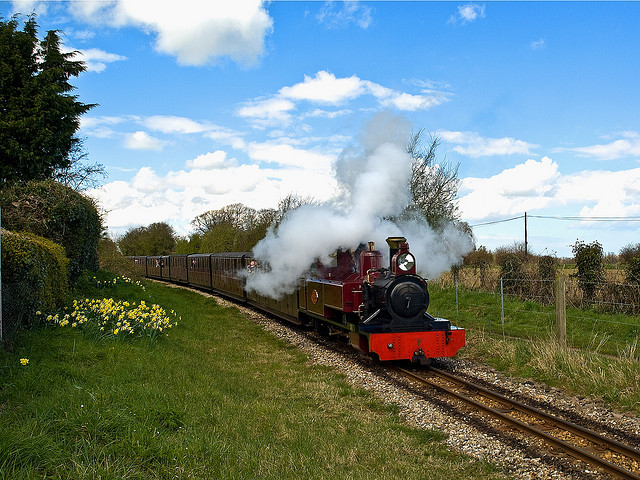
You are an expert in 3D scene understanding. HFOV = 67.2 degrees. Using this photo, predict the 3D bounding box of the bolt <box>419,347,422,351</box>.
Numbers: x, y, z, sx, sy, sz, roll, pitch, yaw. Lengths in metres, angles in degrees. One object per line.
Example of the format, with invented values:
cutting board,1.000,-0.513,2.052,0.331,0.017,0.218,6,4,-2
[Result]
bolt,2.222,2.391,10.588,0.039,0.054,0.043,-9,-17,9
